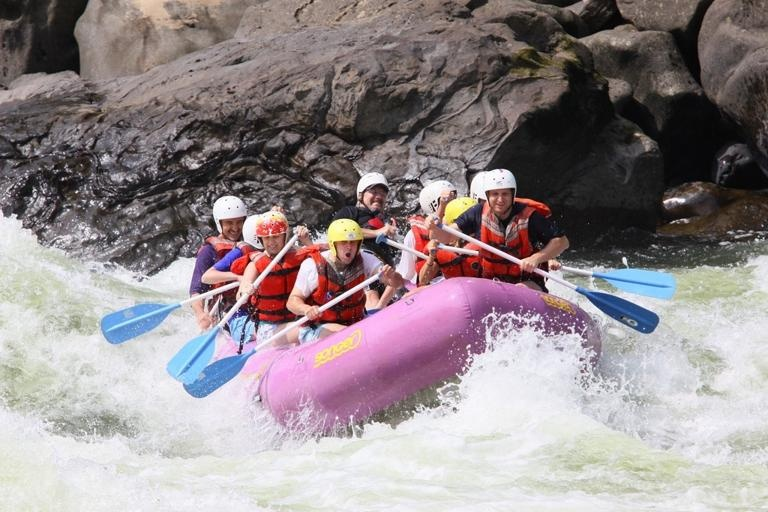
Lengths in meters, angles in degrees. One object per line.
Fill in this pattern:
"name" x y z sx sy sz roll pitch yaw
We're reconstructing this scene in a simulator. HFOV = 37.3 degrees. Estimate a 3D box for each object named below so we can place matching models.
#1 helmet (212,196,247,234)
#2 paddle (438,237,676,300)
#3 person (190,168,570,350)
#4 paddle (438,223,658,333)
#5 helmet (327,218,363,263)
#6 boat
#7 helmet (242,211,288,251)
"helmet" -2.010 -0.581 14.899 0.382 0.398 0.503 -5 8 -25
"paddle" 2.179 0.190 14.599 2.117 0.288 0.146 20 24 10
"person" -0.039 0.100 14.293 2.609 1.024 1.378 -25 12 12
"paddle" 2.003 0.323 14.215 2.831 0.358 0.121 28 31 9
"helmet" -0.467 -0.199 13.593 0.415 0.512 0.524 1 2 -16
"boat" 0.094 1.124 13.176 2.443 0.655 2.418 -26 -1 31
"helmet" -1.471 -0.364 14.181 0.583 0.440 0.414 -29 2 -8
